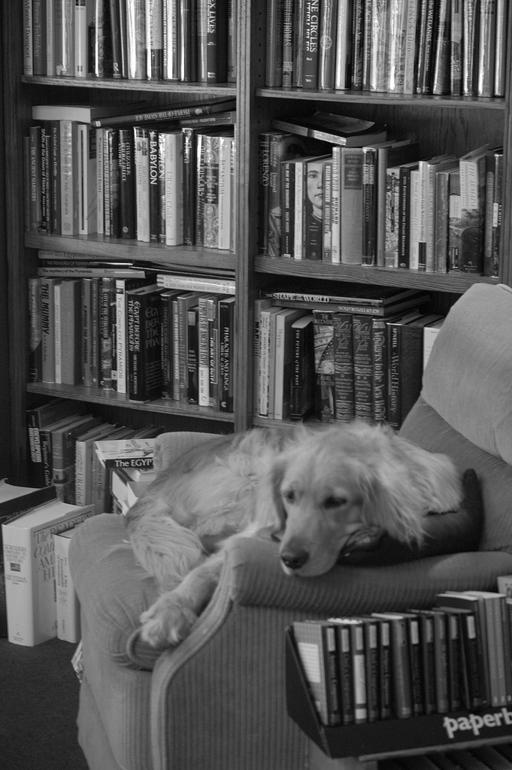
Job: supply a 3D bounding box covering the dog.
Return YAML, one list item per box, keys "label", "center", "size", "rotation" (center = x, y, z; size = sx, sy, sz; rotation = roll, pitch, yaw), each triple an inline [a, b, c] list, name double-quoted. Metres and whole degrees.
- label: "dog"
  center: [0.026, 0.169, 1.235]
  size: [0.407, 0.229, 0.482]
  rotation: [2, 8, -21]
